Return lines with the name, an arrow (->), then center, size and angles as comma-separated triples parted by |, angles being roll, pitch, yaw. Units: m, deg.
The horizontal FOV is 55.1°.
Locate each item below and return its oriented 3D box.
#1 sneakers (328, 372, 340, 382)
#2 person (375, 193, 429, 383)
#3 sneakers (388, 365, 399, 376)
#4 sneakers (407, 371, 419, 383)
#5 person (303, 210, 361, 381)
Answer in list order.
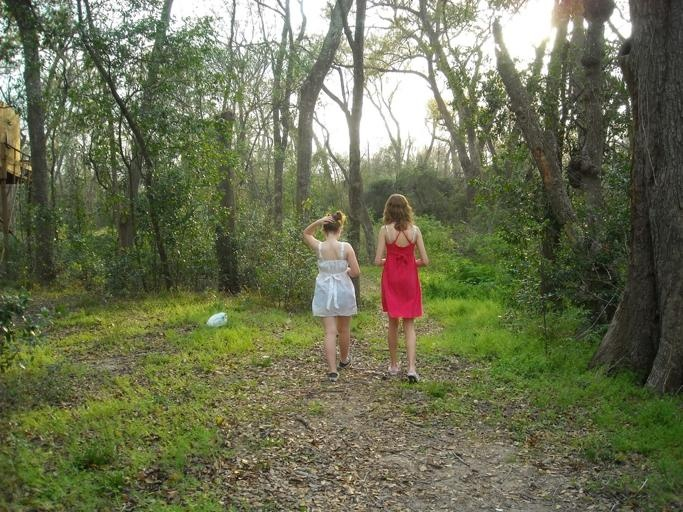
sneakers -> -0.129, 1.884, 10.133 | 0.123, 0.105, 0.308 | 1, -1, -1
person -> 0.926, 0.495, 10.184 | 0.754, 2.894, 0.626 | -2, 3, 3
sneakers -> 0.822, 1.832, 10.358 | 0.132, 0.149, 0.314 | 1, -3, 3
sneakers -> 1.103, 1.871, 10.042 | 0.174, 0.174, 0.147 | -2, 3, -1
person -> -0.124, 0.625, 10.345 | 0.793, 2.638, 0.778 | -2, 3, 1
